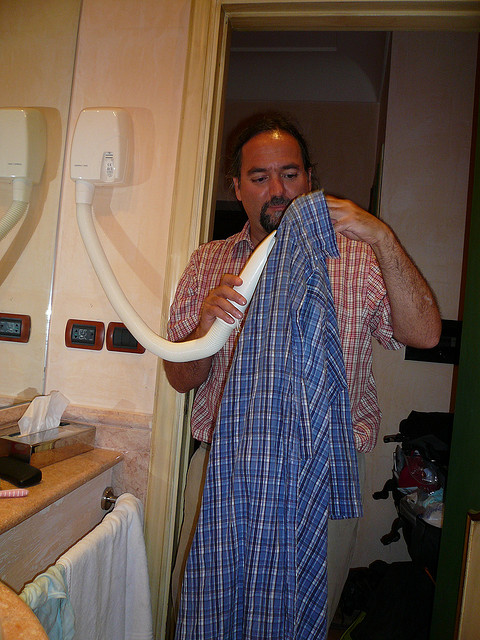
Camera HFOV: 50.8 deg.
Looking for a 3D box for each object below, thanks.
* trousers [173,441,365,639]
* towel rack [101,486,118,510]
[{"bbox_3d":[0.068,0.531,1.267,0.468,0.494,0.238,4,0,14],"label":"trousers"},{"bbox_3d":[-0.317,0.434,1.225,0.039,0.056,0.037,4,0,0],"label":"towel rack"}]
